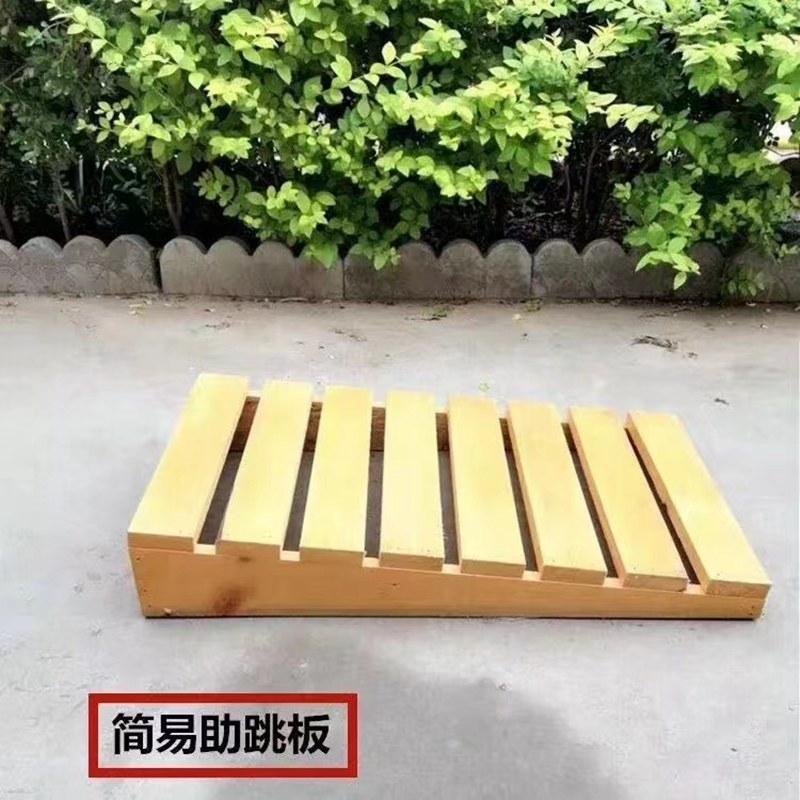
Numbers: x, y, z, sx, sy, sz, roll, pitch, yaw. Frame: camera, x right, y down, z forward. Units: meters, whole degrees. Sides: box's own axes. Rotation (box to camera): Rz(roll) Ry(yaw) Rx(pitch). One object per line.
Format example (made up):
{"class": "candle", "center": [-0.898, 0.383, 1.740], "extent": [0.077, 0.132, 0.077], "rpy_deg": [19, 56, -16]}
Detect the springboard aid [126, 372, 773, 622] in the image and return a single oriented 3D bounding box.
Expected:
{"class": "springboard aid", "center": [0.162, 0.330, 2.644], "extent": [1.961, 0.573, 0.921], "rpy_deg": [-1, 20, -2]}
